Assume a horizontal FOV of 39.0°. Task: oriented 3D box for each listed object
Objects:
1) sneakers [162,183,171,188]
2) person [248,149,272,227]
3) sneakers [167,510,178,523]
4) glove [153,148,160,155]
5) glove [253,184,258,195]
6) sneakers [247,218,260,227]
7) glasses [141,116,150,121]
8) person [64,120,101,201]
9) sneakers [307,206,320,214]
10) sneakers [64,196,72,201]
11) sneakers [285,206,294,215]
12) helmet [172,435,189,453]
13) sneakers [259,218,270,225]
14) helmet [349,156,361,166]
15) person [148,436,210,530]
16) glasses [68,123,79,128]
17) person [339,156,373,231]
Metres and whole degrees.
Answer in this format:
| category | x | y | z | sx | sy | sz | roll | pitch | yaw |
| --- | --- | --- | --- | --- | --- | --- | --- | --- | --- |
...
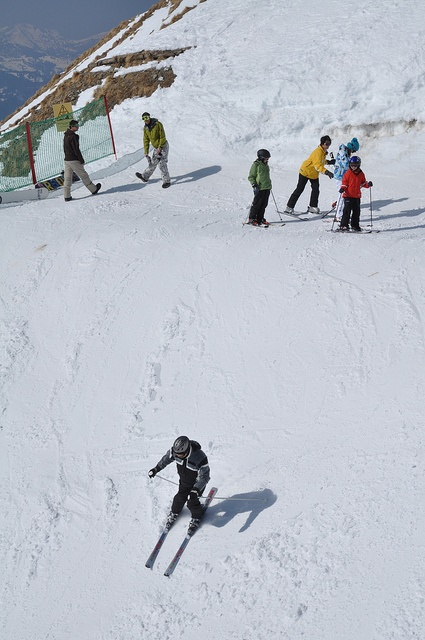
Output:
| category | x | y | z | sx | sy | sz | roll | pitch | yaw |
| --- | --- | --- | --- | --- | --- | --- | --- | --- | --- |
| sneakers | -1.223 | -3.581 | 15.924 | 0.107 | 0.111 | 0.185 | 7 | 13 | 21 |
| person | 0.968 | -2.703 | 12.381 | 0.587 | 1.618 | 0.516 | -11 | 29 | -3 |
| sneakers | -0.523 | 2.584 | 7.822 | 0.118 | 0.153 | 0.148 | 17 | 53 | 23 |
| glove | -1.361 | -4.248 | 15.055 | 0.134 | 0.052 | 0.136 | 4 | 54 | 2 |
| glove | 0.887 | -2.665 | 12.187 | 0.086 | 0.224 | 0.140 | -7 | 29 | 5 |
| sneakers | 0.879 | -2.080 | 12.753 | 0.289 | 0.197 | 0.093 | 9 | 57 | 4 |
| glasses | -1.597 | -4.960 | 14.632 | 0.134 | 0.108 | 0.151 | 0 | 10 | 17 |
| person | -3.407 | -3.925 | 14.824 | 0.925 | 1.988 | 1.003 | -13 | 29 | -7 |
| sneakers | 2.324 | -2.515 | 13.697 | 0.319 | 0.122 | 0.109 | 29 | 53 | 36 |
| sneakers | -3.658 | -3.107 | 15.276 | 0.171 | 0.063 | 0.112 | -8 | -15 | -8 |
| sneakers | 1.770 | -2.501 | 13.652 | 0.094 | 0.190 | 0.283 | -18 | 34 | -33 |
| helmet | -0.361 | 1.518 | 7.229 | 0.158 | 0.187 | 0.199 | 13 | 58 | 9 |
| sneakers | 1.128 | -2.134 | 12.914 | 0.267 | 0.249 | 0.084 | 2 | -16 | 4 |
| helmet | 2.727 | -3.045 | 11.452 | 0.208 | 0.184 | 0.399 | -3 | 28 | 10 |
| person | -0.361 | 2.059 | 7.586 | 0.716 | 1.422 | 0.621 | 14 | 27 | 27 |
| glasses | -3.255 | -4.577 | 14.048 | 0.154 | 0.088 | 0.110 | 18 | 30 | 29 |
| person | 2.766 | -2.483 | 11.736 | 0.591 | 1.443 | 0.472 | -5 | 29 | 9 |
